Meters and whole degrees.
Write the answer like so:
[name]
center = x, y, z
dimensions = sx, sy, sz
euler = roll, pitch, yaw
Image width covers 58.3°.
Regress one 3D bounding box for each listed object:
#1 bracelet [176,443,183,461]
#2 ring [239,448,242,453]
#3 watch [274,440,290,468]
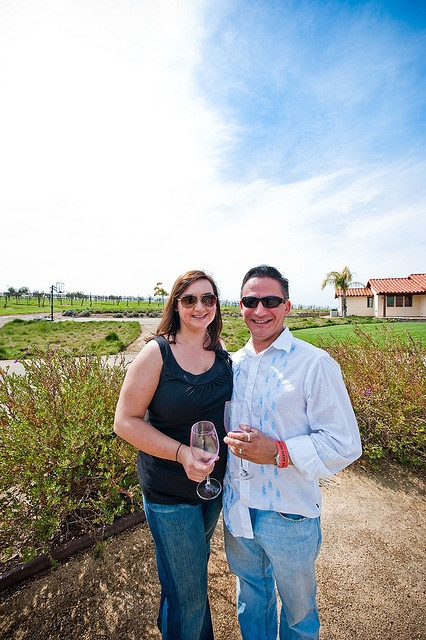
[bracelet]
center = -0.196, 0.738, 2.163
dimensions = 0.029, 0.083, 0.051
euler = 10, 13, 35
[ring]
center = 0.149, 0.707, 2.097
dimensions = 0.011, 0.038, 0.011
euler = 2, 11, 0
[watch]
center = 0.368, 0.707, 2.052
dimensions = 0.041, 0.121, 0.100
euler = -4, 14, -11
